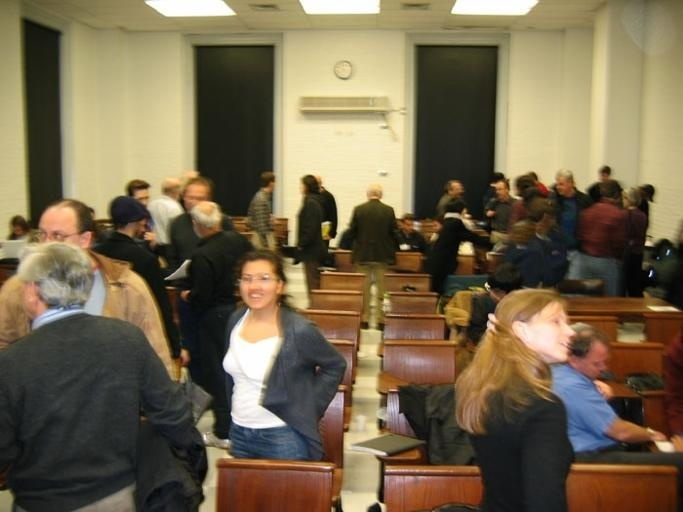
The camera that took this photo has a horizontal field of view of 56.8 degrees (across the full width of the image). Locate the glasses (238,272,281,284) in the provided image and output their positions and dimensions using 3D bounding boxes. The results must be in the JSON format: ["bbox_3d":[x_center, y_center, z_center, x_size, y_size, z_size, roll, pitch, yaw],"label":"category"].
[{"bbox_3d":[-0.390,0.108,3.092,0.210,0.064,0.088,-2,9,-7],"label":"glasses"}]

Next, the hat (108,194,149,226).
[{"bbox_3d":[-1.212,-0.260,3.593,0.218,0.132,0.147,1,9,-20],"label":"hat"}]
